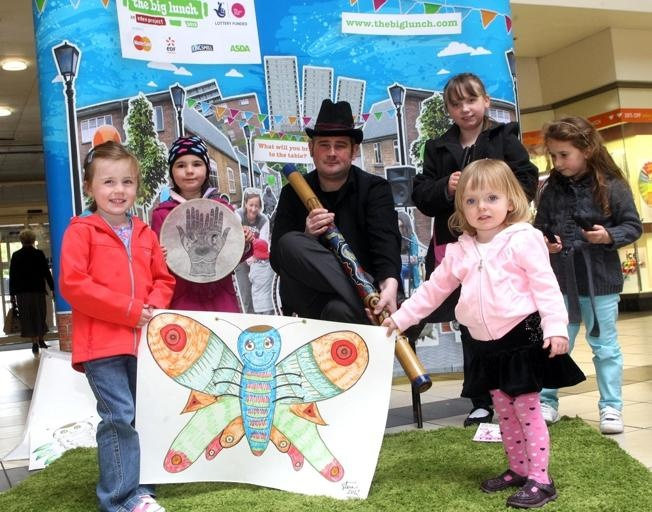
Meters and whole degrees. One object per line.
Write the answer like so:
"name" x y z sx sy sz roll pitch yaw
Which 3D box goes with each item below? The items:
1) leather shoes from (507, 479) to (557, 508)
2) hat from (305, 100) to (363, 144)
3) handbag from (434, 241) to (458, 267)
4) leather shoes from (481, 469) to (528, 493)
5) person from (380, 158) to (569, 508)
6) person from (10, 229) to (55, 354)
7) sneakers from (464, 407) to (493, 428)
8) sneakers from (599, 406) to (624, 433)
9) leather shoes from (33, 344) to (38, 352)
"leather shoes" 0.797 0.902 1.882 0.195 0.085 0.081 1 -10 -38
"hat" 0.056 -0.693 2.641 0.216 0.108 0.259 4 -19 2
"handbag" 0.679 -0.011 2.847 0.117 0.213 0.159 -1 1 -4
"leather shoes" 0.732 0.934 2.037 0.197 0.087 0.075 1 -6 -16
"person" 0.682 0.286 2.032 0.619 1.365 0.303 -5 -5 27
"person" -5.426 0.648 8.993 0.677 2.284 0.874 0 -5 -34
"sneakers" 0.961 1.010 3.055 0.086 0.100 0.245 -7 -11 34
"sneakers" 1.608 0.936 2.738 0.077 0.088 0.222 -3 -13 11
"leather shoes" -5.363 1.715 9.004 0.081 0.130 0.079 1 -31 -17
